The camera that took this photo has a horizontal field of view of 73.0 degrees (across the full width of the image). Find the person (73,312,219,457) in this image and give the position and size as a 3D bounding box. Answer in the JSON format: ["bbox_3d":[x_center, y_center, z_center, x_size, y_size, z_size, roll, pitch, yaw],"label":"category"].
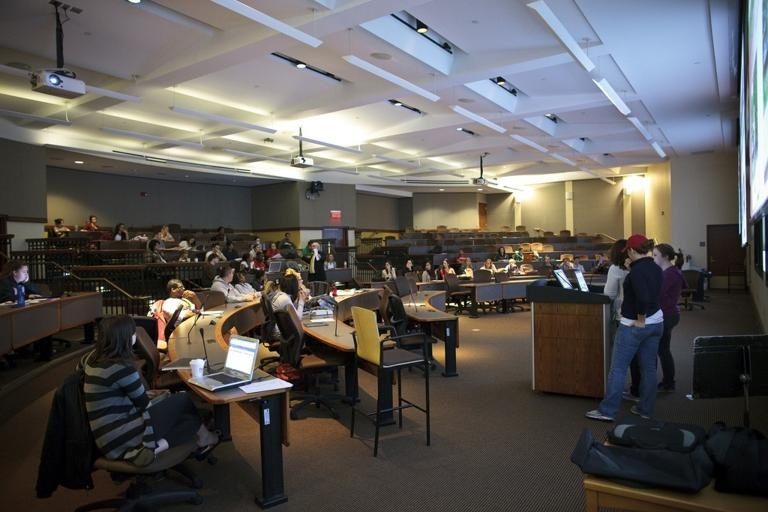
[{"bbox_3d":[-2.373,1.289,5.027,0.999,1.356,0.516,-4,15,-16],"label":"person"}]

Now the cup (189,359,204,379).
[{"bbox_3d":[-1.999,1.183,5.474,0.175,0.177,0.166,0,-7,0],"label":"cup"}]

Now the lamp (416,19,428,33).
[{"bbox_3d":[0.684,-4.167,9.400,0.206,0.220,0.204,-1,-8,4],"label":"lamp"}]

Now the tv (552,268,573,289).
[{"bbox_3d":[2.461,0.338,7.284,0.281,0.272,0.067,17,-43,-40],"label":"tv"}]

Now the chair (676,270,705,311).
[{"bbox_3d":[7.933,0.834,13.509,0.620,0.961,0.680,2,7,43],"label":"chair"}]

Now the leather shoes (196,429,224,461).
[{"bbox_3d":[-1.839,1.963,5.442,0.186,0.134,0.373,18,7,15],"label":"leather shoes"}]

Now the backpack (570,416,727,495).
[{"bbox_3d":[2.249,1.655,4.359,0.653,0.196,0.656,2,25,23],"label":"backpack"}]

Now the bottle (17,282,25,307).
[{"bbox_3d":[-5.474,0.574,7.770,0.094,0.263,0.392,-10,17,-33],"label":"bottle"}]

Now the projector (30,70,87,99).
[{"bbox_3d":[-5.397,-2.839,8.575,0.427,0.332,0.705,-1,-1,41],"label":"projector"}]

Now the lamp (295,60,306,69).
[{"bbox_3d":[-1.727,-3.980,10.765,0.219,0.103,0.373,-2,14,-8],"label":"lamp"}]

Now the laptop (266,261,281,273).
[{"bbox_3d":[-2.727,0.241,12.768,0.259,0.243,0.359,-6,-9,33],"label":"laptop"}]

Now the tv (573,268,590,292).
[{"bbox_3d":[3.263,0.375,8.606,0.294,0.377,0.028,-4,-18,-47],"label":"tv"}]

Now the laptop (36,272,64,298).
[{"bbox_3d":[-6.976,0.592,10.827,0.505,0.584,0.443,-3,-2,7],"label":"laptop"}]
